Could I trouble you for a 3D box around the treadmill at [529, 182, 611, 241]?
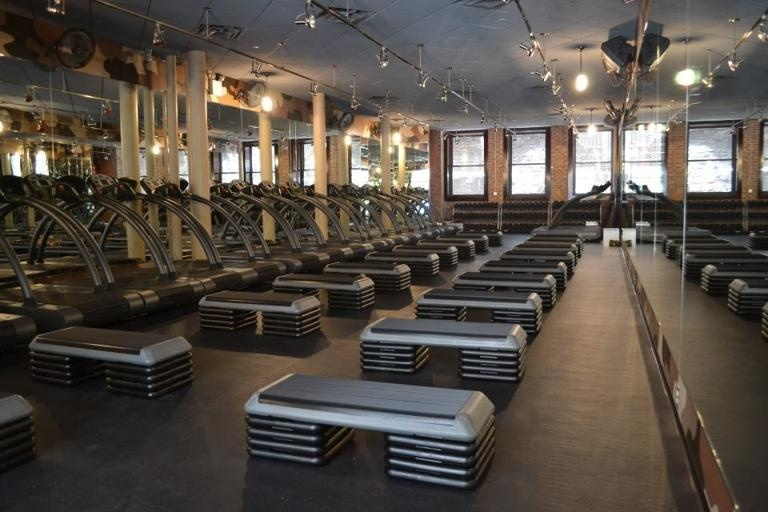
[{"bbox_3d":[4.769,-1.308,12.850,2.651,1.541,1.278,-1,8,5],"label":"treadmill"}]
